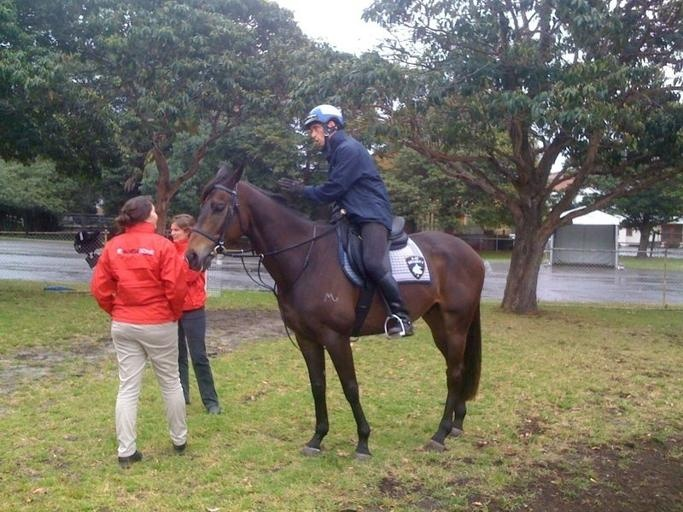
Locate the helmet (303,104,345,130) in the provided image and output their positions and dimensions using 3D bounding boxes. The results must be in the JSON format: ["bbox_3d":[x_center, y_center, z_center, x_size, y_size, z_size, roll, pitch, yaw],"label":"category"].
[{"bbox_3d":[-0.221,-1.882,7.598,0.484,0.302,0.377,5,-3,-7],"label":"helmet"}]

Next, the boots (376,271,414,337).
[{"bbox_3d":[0.670,0.607,7.346,0.447,0.816,0.218,2,9,6],"label":"boots"}]

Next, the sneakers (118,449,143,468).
[{"bbox_3d":[-2.553,2.417,7.096,0.098,0.148,0.315,5,7,18],"label":"sneakers"}]

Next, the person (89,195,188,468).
[{"bbox_3d":[-2.424,0.876,7.178,1.059,3.141,0.678,-2,10,-22],"label":"person"}]

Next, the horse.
[{"bbox_3d":[0.128,0.687,7.588,3.912,3.572,0.951,-1,9,-16],"label":"horse"}]

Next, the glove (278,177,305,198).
[{"bbox_3d":[-0.640,-0.883,7.493,0.339,0.218,0.480,-1,10,-18],"label":"glove"}]
